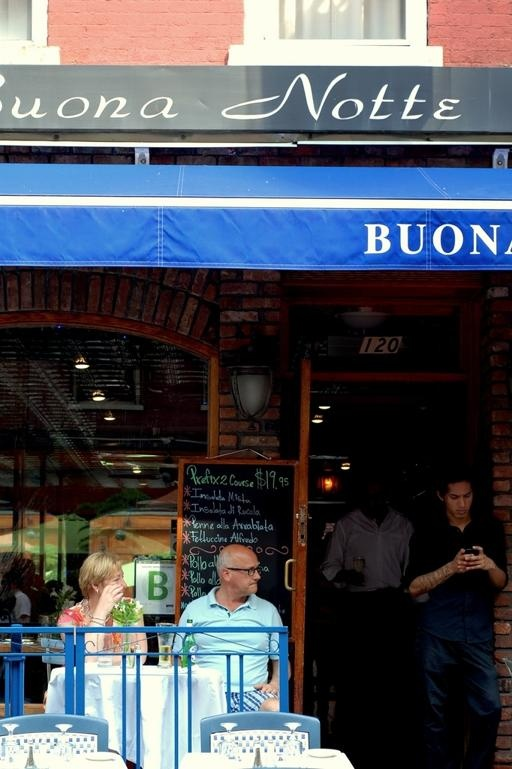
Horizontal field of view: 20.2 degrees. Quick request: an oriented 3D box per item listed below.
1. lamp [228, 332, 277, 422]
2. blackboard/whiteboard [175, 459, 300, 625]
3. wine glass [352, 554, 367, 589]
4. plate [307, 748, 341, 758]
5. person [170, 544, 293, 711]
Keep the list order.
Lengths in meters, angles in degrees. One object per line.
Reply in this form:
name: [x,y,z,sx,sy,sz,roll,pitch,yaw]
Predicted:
lamp: [-0.022,-0.045,8.891,0.276,0.513,0.313,-1,-10,-1]
blackboard/whiteboard: [-0.115,1.002,8.866,0.763,1.215,0.051,2,-34,-3]
wine glass: [0.692,1.283,9.693,0.083,0.209,0.150,-2,-10,5]
plate: [0.295,1.633,6.326,0.145,0.032,0.146,-2,-10,1]
person: [-0.166,1.398,8.211,0.782,0.965,0.796,0,-7,30]
